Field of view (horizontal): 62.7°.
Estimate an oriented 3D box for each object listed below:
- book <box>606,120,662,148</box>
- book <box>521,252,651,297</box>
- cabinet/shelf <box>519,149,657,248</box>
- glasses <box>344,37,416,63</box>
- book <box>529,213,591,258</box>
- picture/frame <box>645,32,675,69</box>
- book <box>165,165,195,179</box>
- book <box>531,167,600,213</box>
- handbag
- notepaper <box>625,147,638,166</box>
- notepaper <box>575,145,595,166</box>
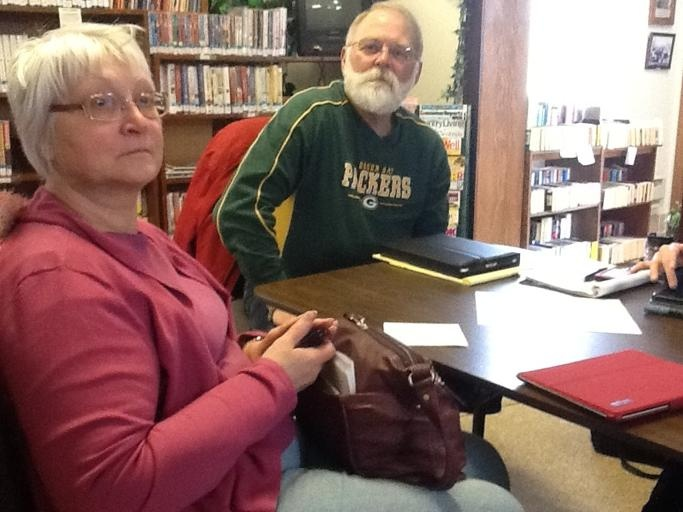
[{"bbox_3d":[2.678,-1.099,5.131,0.449,0.149,0.345,-7,15,-29],"label":"book"},{"bbox_3d":[0.799,0.066,1.831,0.197,0.037,0.189,-13,18,-33],"label":"book"},{"bbox_3d":[2.188,-0.524,5.008,0.824,0.873,0.273,-4,14,-24],"label":"cabinet/shelf"},{"bbox_3d":[0.186,-0.870,2.361,0.128,0.043,0.134,14,1,-13],"label":"glasses"},{"bbox_3d":[1.797,-0.174,4.613,0.608,0.366,0.590,-2,4,-26],"label":"book"},{"bbox_3d":[2.985,-1.930,5.255,0.346,0.334,0.048,0,25,-29],"label":"picture/frame"},{"bbox_3d":[-1.185,-0.608,4.056,0.158,0.049,0.158,13,19,42],"label":"book"},{"bbox_3d":[1.854,-0.567,4.830,1.075,0.333,0.423,-14,19,-43],"label":"book"},{"bbox_3d":[0.091,0.341,1.262,0.262,0.330,0.511,-15,18,-23],"label":"handbag"},{"bbox_3d":[2.692,-0.937,5.189,0.118,0.216,0.051,6,6,7],"label":"notepaper"},{"bbox_3d":[2.074,-0.836,4.762,0.144,0.213,0.055,-5,-13,-5],"label":"notepaper"}]
